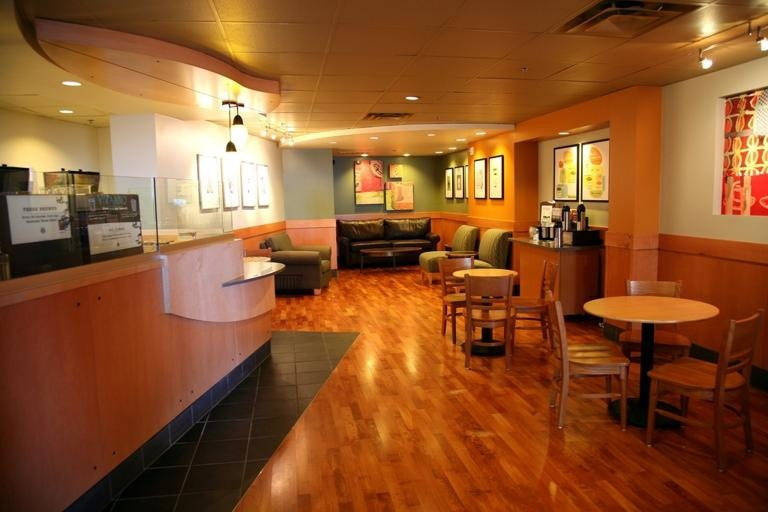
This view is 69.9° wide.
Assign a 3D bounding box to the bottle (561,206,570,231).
[{"bbox_3d":[2.716,-0.572,8.185,0.117,0.362,0.244,0,8,17],"label":"bottle"}]

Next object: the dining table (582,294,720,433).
[{"bbox_3d":[2.493,1.015,5.713,1.408,1.161,1.291,-1,12,2],"label":"dining table"}]

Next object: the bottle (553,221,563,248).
[{"bbox_3d":[2.564,-0.340,8.100,0.120,0.342,0.484,0,7,16],"label":"bottle"}]

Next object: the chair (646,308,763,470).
[{"bbox_3d":[2.808,1.122,4.870,0.805,1.265,0.612,3,9,33],"label":"chair"}]

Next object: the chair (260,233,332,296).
[{"bbox_3d":[-1.670,0.129,10.663,1.290,1.041,1.286,-1,8,-5],"label":"chair"}]

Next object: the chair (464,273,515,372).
[{"bbox_3d":[1.295,0.715,6.758,0.577,1.109,1.077,-1,7,12],"label":"chair"}]

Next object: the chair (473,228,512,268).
[{"bbox_3d":[2.132,-0.130,10.253,0.770,0.805,0.916,-1,1,-10],"label":"chair"}]

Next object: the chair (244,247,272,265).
[{"bbox_3d":[-1.784,-0.011,7.739,0.314,0.168,0.278,0,-1,-40],"label":"chair"}]

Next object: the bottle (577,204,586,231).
[{"bbox_3d":[2.888,-0.578,8.042,0.113,0.368,0.174,0,8,17],"label":"bottle"}]

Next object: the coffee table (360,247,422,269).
[{"bbox_3d":[0.143,0.041,12.932,1.494,0.520,1.539,-1,6,2],"label":"coffee table"}]
